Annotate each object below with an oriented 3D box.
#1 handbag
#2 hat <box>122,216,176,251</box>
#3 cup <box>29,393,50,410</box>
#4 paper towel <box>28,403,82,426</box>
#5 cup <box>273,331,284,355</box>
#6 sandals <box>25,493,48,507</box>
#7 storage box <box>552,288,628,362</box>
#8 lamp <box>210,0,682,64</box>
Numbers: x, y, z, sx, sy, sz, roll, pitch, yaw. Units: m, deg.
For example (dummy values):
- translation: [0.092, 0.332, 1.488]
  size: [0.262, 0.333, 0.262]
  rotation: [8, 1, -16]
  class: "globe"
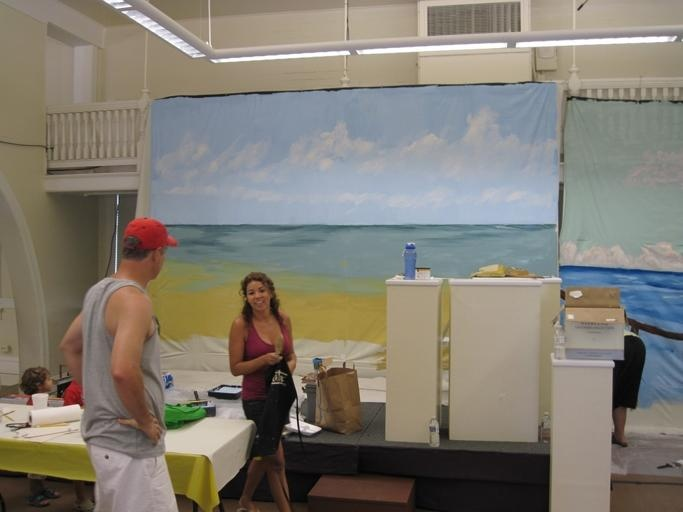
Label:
- translation: [-0.036, 1.285, 5.978]
  size: [0.426, 0.593, 0.262]
  rotation: [-1, 2, -2]
  class: "handbag"
- translation: [-1.240, -0.133, 4.172]
  size: [0.193, 0.178, 0.290]
  rotation: [13, 16, 27]
  class: "hat"
- translation: [-2.428, 1.156, 5.265]
  size: [0.123, 0.110, 0.132]
  rotation: [-2, -10, 0]
  class: "cup"
- translation: [-2.169, 1.193, 4.941]
  size: [0.380, 0.181, 0.166]
  rotation: [0, 7, -24]
  class: "paper towel"
- translation: [-0.505, 0.701, 5.270]
  size: [0.088, 0.163, 0.337]
  rotation: [-1, 1, -6]
  class: "cup"
- translation: [-2.693, 2.143, 5.810]
  size: [0.144, 0.072, 0.095]
  rotation: [2, 0, 14]
  class: "sandals"
- translation: [2.026, 0.601, 5.266]
  size: [0.580, 0.606, 0.551]
  rotation: [7, -23, 3]
  class: "storage box"
- translation: [1.020, -2.132, 6.629]
  size: [4.552, 0.196, 0.334]
  rotation: [-1, 1, 8]
  class: "lamp"
